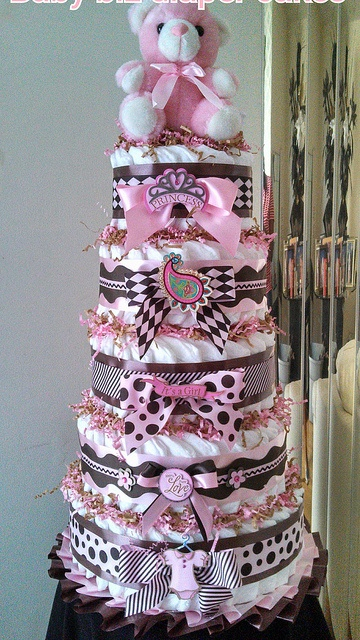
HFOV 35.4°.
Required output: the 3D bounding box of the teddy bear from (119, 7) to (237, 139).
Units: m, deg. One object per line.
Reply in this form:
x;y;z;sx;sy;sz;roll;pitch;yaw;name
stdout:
-0.005;-0.590;1.344;0.291;0.341;0.173;-1;3;-8;teddy bear
